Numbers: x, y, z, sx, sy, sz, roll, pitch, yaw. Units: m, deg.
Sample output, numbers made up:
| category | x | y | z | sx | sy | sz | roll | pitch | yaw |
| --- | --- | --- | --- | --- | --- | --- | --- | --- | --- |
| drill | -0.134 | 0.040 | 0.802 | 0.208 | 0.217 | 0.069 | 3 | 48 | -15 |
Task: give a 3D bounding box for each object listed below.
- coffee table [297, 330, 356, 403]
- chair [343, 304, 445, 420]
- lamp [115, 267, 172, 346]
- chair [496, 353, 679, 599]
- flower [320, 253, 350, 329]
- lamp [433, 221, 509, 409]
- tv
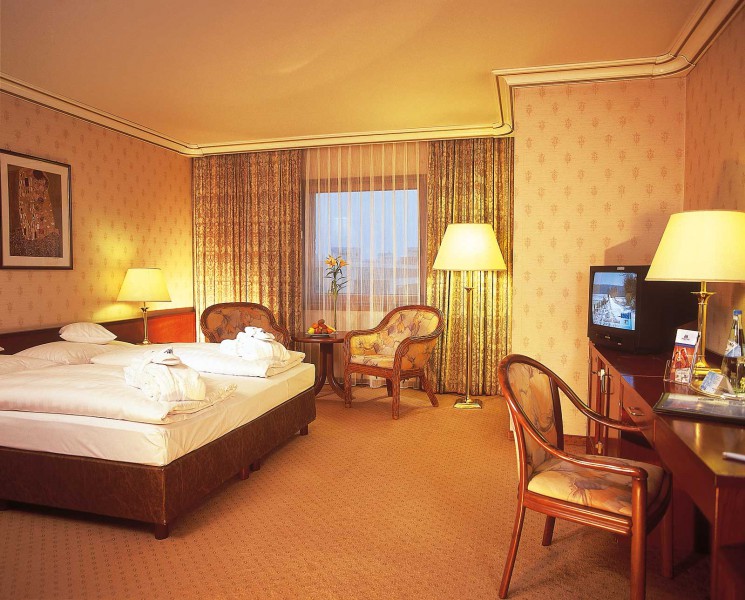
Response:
| category | x | y | z | sx | sy | sz | roll | pitch | yaw |
| --- | --- | --- | --- | --- | --- | --- | --- | --- | --- |
| coffee table | -0.556 | 0.720 | 6.392 | 0.659 | 0.768 | 0.678 | 0 | 2 | 34 |
| chair | 0.252 | 0.619 | 6.041 | 0.895 | 1.157 | 0.872 | 3 | 1 | 35 |
| lamp | -2.438 | 0.090 | 6.007 | 0.442 | 0.853 | 0.465 | 0 | -1 | 7 |
| chair | 1.184 | 0.899 | 3.308 | 1.065 | 1.585 | 1.073 | -2 | 1 | 31 |
| flower | -0.439 | -0.087 | 6.740 | 0.289 | 0.945 | 0.551 | 0 | 8 | -4 |
| lamp | 1.011 | 0.157 | 6.039 | 0.726 | 1.970 | 0.771 | 1 | 8 | 7 |
| tv | 1.857 | 0.073 | 3.963 | 0.575 | 0.654 | 0.573 | 1 | -1 | -16 |
